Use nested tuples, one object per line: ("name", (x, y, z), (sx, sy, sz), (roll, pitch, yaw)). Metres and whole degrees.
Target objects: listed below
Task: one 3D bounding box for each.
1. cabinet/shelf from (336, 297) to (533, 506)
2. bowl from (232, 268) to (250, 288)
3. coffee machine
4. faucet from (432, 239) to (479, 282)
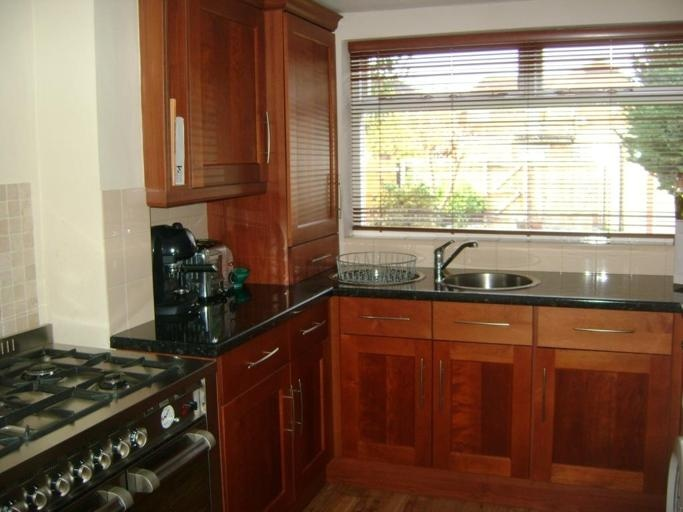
("cabinet/shelf", (0.524, 0.730, 3.017), (1.263, 0.967, 0.466), (0, 2, 18))
("bowl", (-0.543, 0.118, 3.049), (0.059, 0.112, 0.132), (3, 9, 28))
("coffee machine", (-0.768, 0.056, 2.670), (0.193, 0.409, 0.198), (-2, 8, -9))
("faucet", (0.641, 0.012, 3.306), (0.216, 0.228, 0.468), (0, 7, 9))
